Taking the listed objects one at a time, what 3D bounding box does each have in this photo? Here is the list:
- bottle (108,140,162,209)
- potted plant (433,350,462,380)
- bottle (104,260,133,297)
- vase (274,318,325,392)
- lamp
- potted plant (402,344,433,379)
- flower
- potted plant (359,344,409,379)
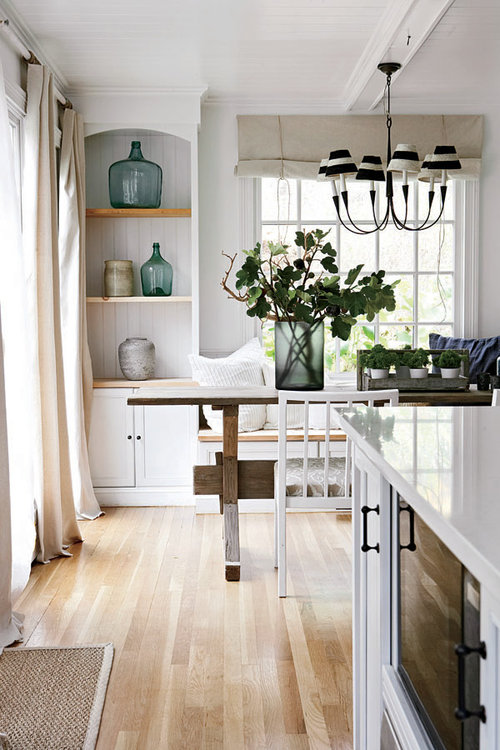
[{"bbox_3d":[-0.759,-1.344,3.794,0.334,0.442,0.126,-1,2,-13],"label":"bottle"},{"bbox_3d":[1.080,-0.050,3.164,0.133,0.181,0.137,0,-2,-20],"label":"potted plant"},{"bbox_3d":[-0.870,-0.643,3.857,0.179,0.279,0.211,0,0,-1],"label":"bottle"},{"bbox_3d":[0.211,-0.076,2.576,0.244,0.491,0.251,0,-2,-1],"label":"vase"},{"bbox_3d":[0.743,-1.198,2.989,0.602,0.889,0.775,-3,11,-5],"label":"lamp"},{"bbox_3d":[0.901,-0.078,3.123,0.142,0.171,0.175,0,2,15],"label":"potted plant"},{"bbox_3d":[0.369,-0.361,2.978,0.671,0.811,1.244,0,2,10],"label":"flower"},{"bbox_3d":[0.706,-0.092,3.173,0.154,0.163,0.202,0,-3,-2],"label":"potted plant"}]
